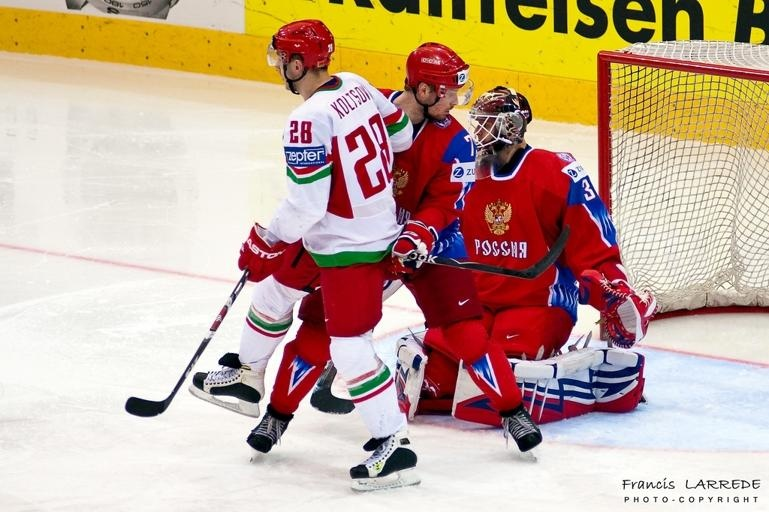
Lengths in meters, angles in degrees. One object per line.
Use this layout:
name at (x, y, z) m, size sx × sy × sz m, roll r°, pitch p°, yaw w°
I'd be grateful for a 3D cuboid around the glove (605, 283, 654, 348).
glove at (1.095, 0.277, 4.506) m, size 0.163 × 0.339 × 0.157 m, roll 35°, pitch 59°, yaw 22°

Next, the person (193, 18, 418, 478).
person at (-0.272, -0.044, 4.097) m, size 0.932 × 1.840 × 0.530 m, roll 4°, pitch 8°, yaw 1°

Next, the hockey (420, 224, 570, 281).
hockey at (0.498, -0.018, 4.435) m, size 0.031 × 0.189 × 0.617 m, roll 24°, pitch -32°, yaw -34°

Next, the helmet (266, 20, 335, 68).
helmet at (-0.333, -0.873, 4.148) m, size 0.287 × 0.208 × 0.224 m, roll -5°, pitch 11°, yaw 17°

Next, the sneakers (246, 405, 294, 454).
sneakers at (-0.487, 0.734, 4.244) m, size 0.102 × 0.112 × 0.289 m, roll 36°, pitch 12°, yaw -2°

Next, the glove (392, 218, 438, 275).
glove at (0.107, -0.046, 4.128) m, size 0.162 × 0.211 × 0.090 m, roll 29°, pitch 4°, yaw -13°

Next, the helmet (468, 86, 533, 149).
helmet at (0.533, -0.658, 4.633) m, size 0.317 × 0.275 × 0.249 m, roll -5°, pitch 13°, yaw -5°

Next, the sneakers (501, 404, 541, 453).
sneakers at (0.571, 0.717, 4.184) m, size 0.107 × 0.131 × 0.325 m, roll -31°, pitch 10°, yaw 3°

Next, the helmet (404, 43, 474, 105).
helmet at (0.217, -0.792, 4.245) m, size 0.297 × 0.241 × 0.242 m, roll 12°, pitch 30°, yaw 20°

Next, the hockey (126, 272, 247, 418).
hockey at (-0.995, 0.464, 4.929) m, size 0.143 × 0.793 × 0.064 m, roll 36°, pitch -19°, yaw 4°
